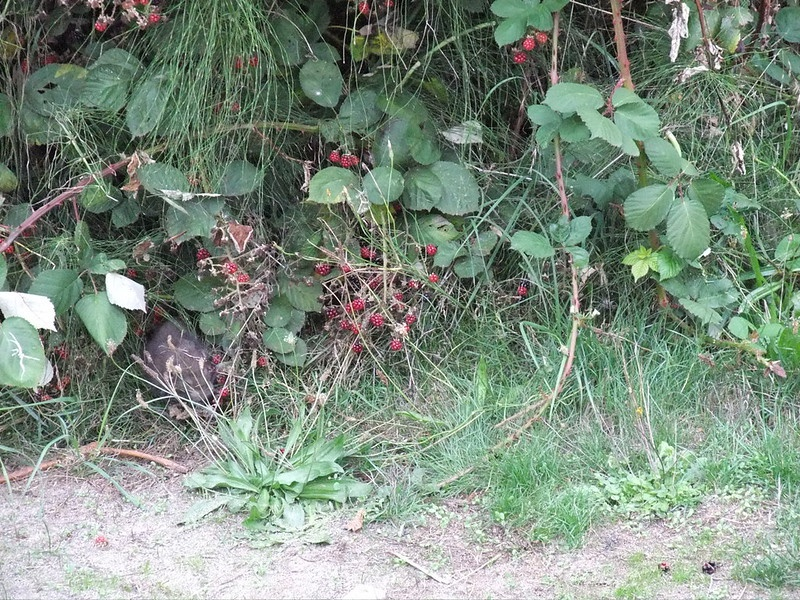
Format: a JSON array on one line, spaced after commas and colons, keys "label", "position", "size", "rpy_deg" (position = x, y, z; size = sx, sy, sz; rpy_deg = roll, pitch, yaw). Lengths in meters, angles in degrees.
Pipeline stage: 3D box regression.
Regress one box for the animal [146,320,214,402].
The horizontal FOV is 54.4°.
[{"label": "animal", "position": [-0.954, 0.272, 3.417], "size": [0.242, 0.114, 0.370], "rpy_deg": [-29, 77, -25]}]
